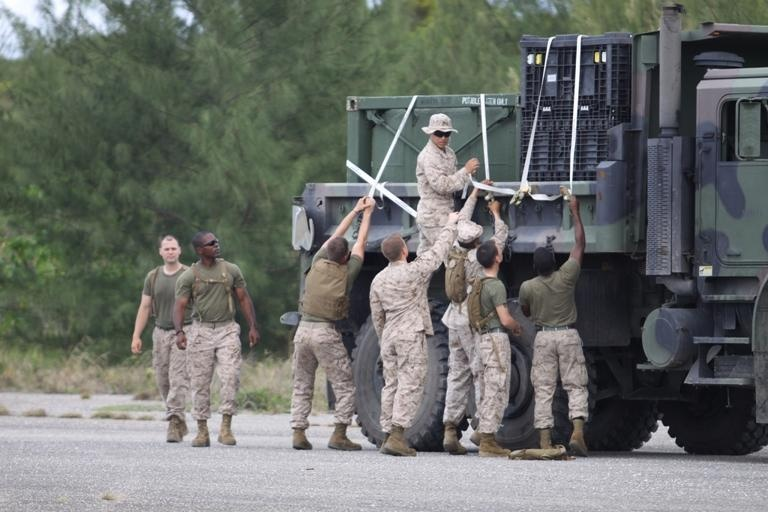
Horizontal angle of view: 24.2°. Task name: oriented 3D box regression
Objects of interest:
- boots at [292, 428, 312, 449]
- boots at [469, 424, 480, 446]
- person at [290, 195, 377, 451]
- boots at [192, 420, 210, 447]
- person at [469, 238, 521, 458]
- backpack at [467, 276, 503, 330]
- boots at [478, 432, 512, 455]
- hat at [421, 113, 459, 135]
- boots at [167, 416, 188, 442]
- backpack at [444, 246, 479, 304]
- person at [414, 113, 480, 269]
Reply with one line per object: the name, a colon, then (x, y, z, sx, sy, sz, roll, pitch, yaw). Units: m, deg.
boots: (-1.169, 2.552, 25.663, 0.148, 0.348, 0.435, 1, 5, 14)
boots: (1.295, 2.478, 25.311, 0.190, 0.268, 0.276, 4, -22, 4)
person: (-0.773, 0.954, 25.401, 1.152, 2.613, 0.520, -2, -1, -3)
boots: (-2.576, 2.562, 25.858, 0.166, 0.462, 0.459, -2, -17, 7)
person: (1.506, 1.236, 24.900, 0.632, 2.354, 0.348, -2, -1, 5)
backpack: (1.369, 0.597, 25.092, 0.451, 0.816, 0.684, -1, 5, -32)
boots: (1.585, 2.582, 25.028, 0.521, 0.412, 0.203, -2, -1, -18)
hat: (0.791, -1.928, 25.663, 0.371, 0.217, 0.374, 0, -5, -1)
boots: (-3.012, 2.515, 26.232, 0.159, 0.401, 0.530, -1, -22, 5)
backpack: (1.111, 0.197, 25.342, 0.407, 0.818, 0.500, 1, 10, -10)
person: (0.846, -0.801, 25.881, 0.736, 2.620, 0.780, -6, 23, -21)
